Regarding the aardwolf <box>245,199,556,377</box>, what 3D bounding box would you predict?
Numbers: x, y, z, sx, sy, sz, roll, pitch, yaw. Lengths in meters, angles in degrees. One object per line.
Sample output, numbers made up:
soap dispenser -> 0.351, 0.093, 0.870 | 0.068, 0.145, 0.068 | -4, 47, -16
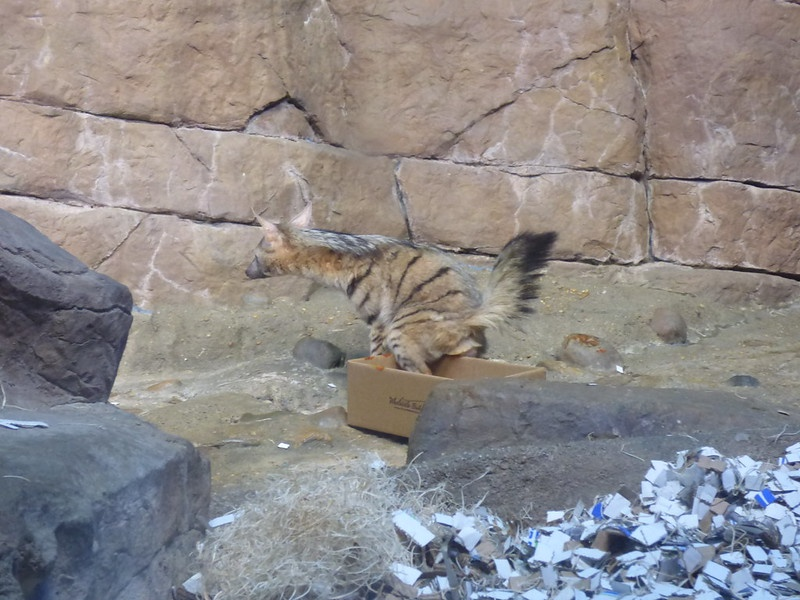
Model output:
aardwolf -> 0.101, -0.173, 8.575 | 1.428, 0.903, 1.757 | -43, 76, -11
